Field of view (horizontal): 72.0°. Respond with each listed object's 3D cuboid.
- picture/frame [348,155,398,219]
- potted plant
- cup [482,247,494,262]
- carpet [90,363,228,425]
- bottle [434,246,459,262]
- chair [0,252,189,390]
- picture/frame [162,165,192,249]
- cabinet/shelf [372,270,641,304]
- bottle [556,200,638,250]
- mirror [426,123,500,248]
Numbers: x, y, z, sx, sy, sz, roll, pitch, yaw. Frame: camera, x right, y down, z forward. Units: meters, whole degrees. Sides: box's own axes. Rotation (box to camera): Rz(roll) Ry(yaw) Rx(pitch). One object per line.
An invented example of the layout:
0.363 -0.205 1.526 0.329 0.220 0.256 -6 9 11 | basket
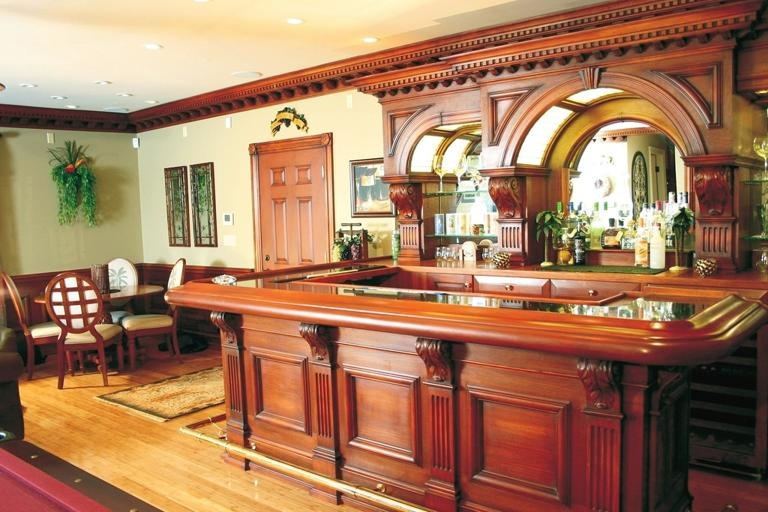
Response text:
-0.103 -0.821 6.254 0.936 0.865 0.076 3 10 35 | picture/frame
-4.836 -1.132 8.296 0.628 1.342 0.299 -9 9 -37 | potted plant
1.108 -0.025 5.640 0.092 0.131 0.151 -5 7 -19 | cup
-2.371 1.555 5.990 1.438 0.036 1.085 3 8 40 | carpet
0.710 -0.036 5.809 0.259 0.142 0.274 -2 6 0 | bottle
-3.704 0.838 6.948 1.290 1.389 1.457 2 8 36 | chair
-3.309 -0.779 8.479 0.632 1.268 0.118 3 10 41 | picture/frame
1.157 0.247 4.953 2.247 0.235 0.225 1 8 28 | cabinet/shelf
2.139 -0.289 5.225 0.580 0.354 0.186 4 12 29 | bottle
0.844 -0.719 5.865 0.647 1.322 0.690 -7 8 -27 | mirror
